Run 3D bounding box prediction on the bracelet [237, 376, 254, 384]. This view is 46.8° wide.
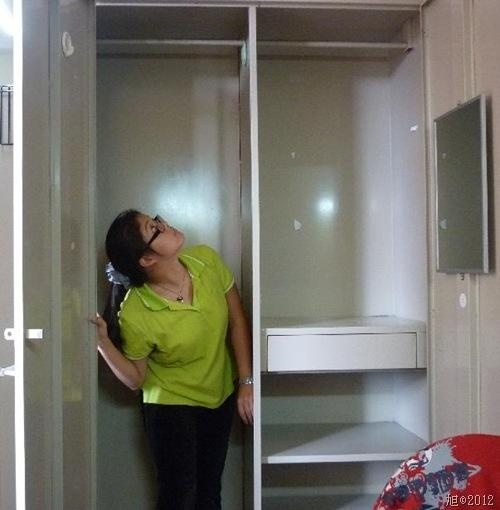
[{"bbox_3d":[-0.016,0.478,2.201,0.050,0.025,0.031,2,0,1],"label":"bracelet"}]
